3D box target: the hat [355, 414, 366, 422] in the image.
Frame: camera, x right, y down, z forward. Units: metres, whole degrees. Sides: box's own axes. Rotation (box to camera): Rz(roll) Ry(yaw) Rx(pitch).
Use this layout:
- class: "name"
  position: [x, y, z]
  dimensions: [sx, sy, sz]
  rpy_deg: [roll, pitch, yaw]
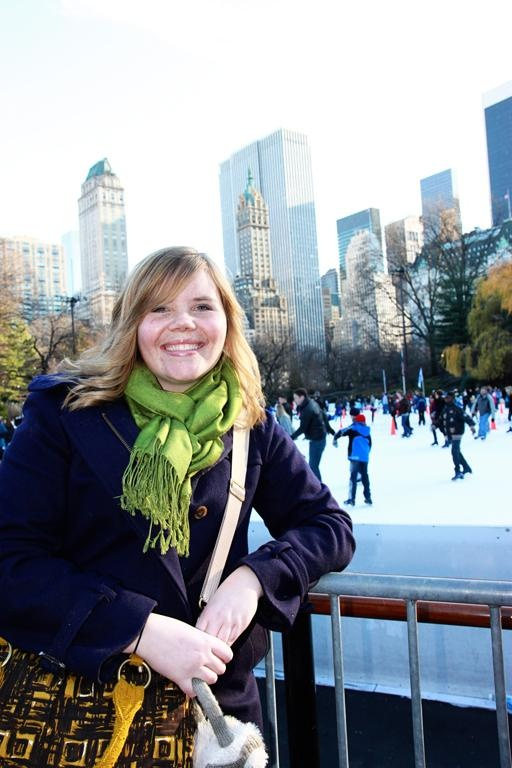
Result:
- class: "hat"
  position: [1.711, 0.572, 9.915]
  dimensions: [0.146, 0.150, 0.113]
  rpy_deg: [18, -1, -17]

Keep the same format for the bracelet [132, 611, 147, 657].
- class: "bracelet"
  position: [-0.195, 0.422, 1.007]
  dimensions: [0.010, 0.040, 0.041]
  rpy_deg: [-17, 33, -11]

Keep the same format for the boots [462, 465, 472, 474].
- class: "boots"
  position: [4.175, 1.684, 12.080]
  dimensions: [0.173, 0.125, 0.380]
  rpy_deg: [-5, 2, 23]

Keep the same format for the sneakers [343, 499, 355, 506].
- class: "sneakers"
  position: [1.562, 1.980, 10.281]
  dimensions: [0.101, 0.064, 0.143]
  rpy_deg: [-3, 12, -26]
